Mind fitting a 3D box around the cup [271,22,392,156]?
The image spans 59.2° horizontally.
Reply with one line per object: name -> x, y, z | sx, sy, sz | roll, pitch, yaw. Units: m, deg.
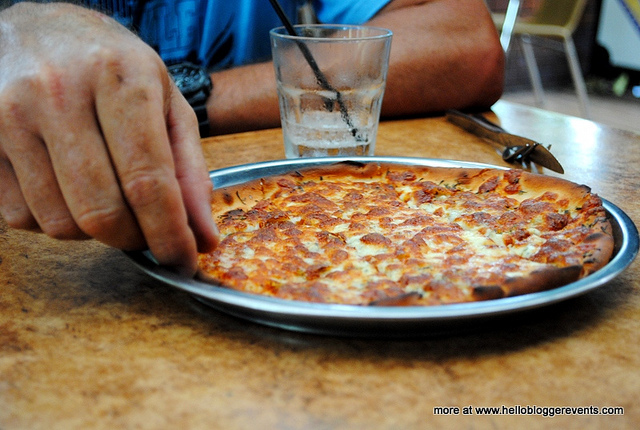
cup -> 0.028, -0.284, 1.325 | 0.288, 0.310, 0.280 | 0, 23, 0

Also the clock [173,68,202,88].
clock -> -0.373, -0.391, 1.618 | 0.083, 0.019, 0.078 | -6, 48, -10

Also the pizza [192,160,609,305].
pizza -> 0.144, 0.006, 0.958 | 0.668, 0.072, 0.494 | -4, 31, -4
